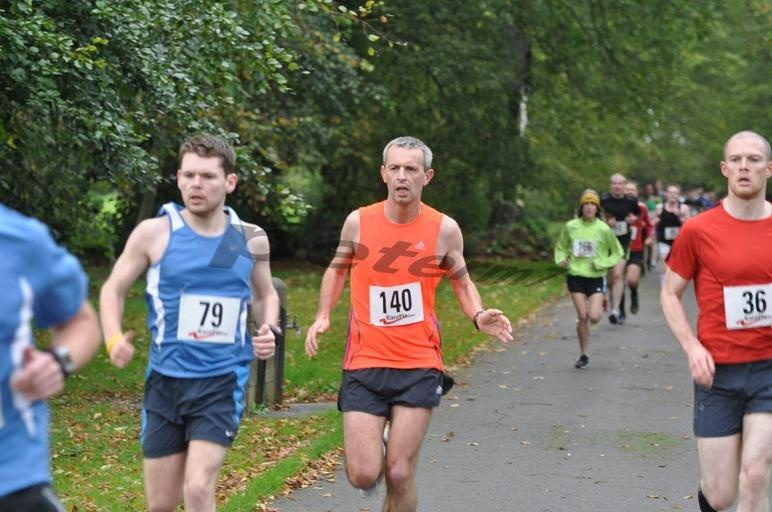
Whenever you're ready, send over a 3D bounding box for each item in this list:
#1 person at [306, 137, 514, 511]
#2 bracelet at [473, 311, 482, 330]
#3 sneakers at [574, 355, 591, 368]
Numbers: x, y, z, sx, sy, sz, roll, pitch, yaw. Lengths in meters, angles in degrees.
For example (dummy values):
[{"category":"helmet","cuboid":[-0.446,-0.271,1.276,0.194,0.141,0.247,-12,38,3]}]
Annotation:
[{"category":"person","cuboid":[0.063,0.564,6.737,1.294,2.888,0.855,-1,5,-7]},{"category":"bracelet","cuboid":[0.685,0.481,6.826,0.090,0.125,0.049,-5,6,-7]},{"category":"sneakers","cuboid":[2.728,1.437,12.651,0.198,0.202,0.270,0,5,10]}]
